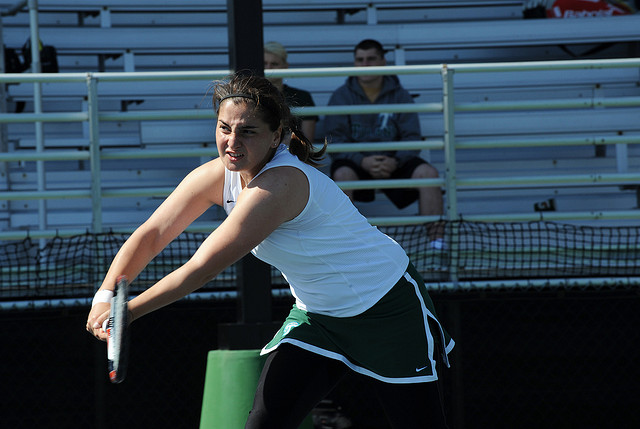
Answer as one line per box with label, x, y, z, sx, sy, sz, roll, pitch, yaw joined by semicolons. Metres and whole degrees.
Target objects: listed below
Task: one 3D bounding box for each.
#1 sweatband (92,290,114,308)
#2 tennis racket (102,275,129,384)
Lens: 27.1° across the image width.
sweatband;-1.573;0.628;9.697;0.125;0.122;0.118;7;-21;-8
tennis racket;-1.430;0.832;9.449;0.160;0.702;0.208;2;7;-7
